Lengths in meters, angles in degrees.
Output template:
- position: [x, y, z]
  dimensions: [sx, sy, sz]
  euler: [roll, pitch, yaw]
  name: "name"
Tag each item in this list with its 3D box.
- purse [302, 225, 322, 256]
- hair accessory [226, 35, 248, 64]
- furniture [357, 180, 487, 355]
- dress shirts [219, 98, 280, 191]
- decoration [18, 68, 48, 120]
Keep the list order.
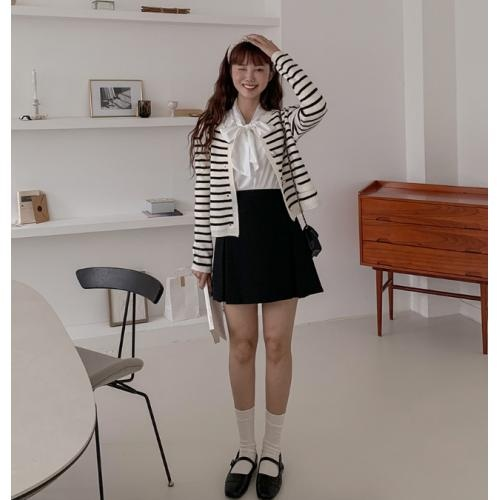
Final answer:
- position: [0.241, -0.037, 1.804]
  dimensions: [0.033, 0.127, 0.063]
  euler: [-13, -5, 12]
  name: "purse"
- position: [-0.051, -0.735, 1.740]
  dimensions: [0.051, 0.098, 0.155]
  euler: [-5, 13, -23]
  name: "hair accessory"
- position: [1.209, 0.104, 3.211]
  dimensions: [0.820, 1.304, 0.392]
  euler: [5, 10, 37]
  name: "furniture"
- position: [0.000, -0.384, 1.743]
  dimensions: [0.222, 0.315, 0.159]
  euler: [-1, 10, -3]
  name: "dress shirts"
- position: [-1.411, -0.994, 2.991]
  dimensions: [0.173, 0.331, 0.187]
  euler: [-6, 11, -26]
  name: "decoration"
